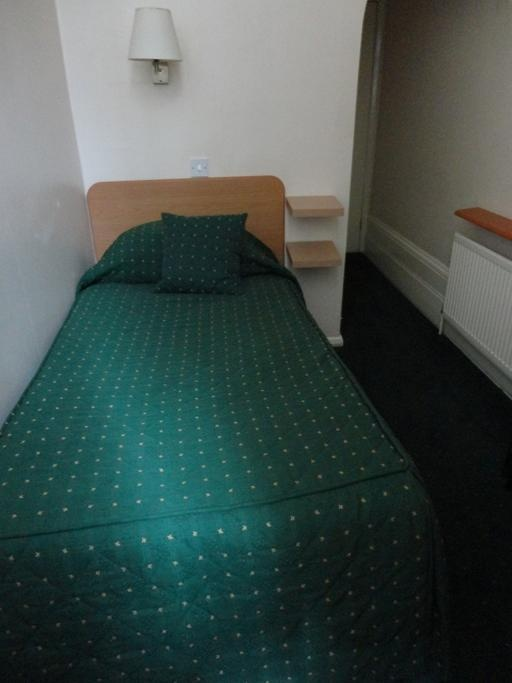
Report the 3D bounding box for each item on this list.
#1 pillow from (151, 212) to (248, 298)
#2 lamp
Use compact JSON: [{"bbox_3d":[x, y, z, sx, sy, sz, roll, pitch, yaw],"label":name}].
[{"bbox_3d":[-0.274,-0.403,2.374,0.412,0.403,0.151,-1,-12,1],"label":"pillow"},{"bbox_3d":[-0.451,-1.354,2.271,0.260,0.344,0.249,-2,28,-3],"label":"lamp"}]
